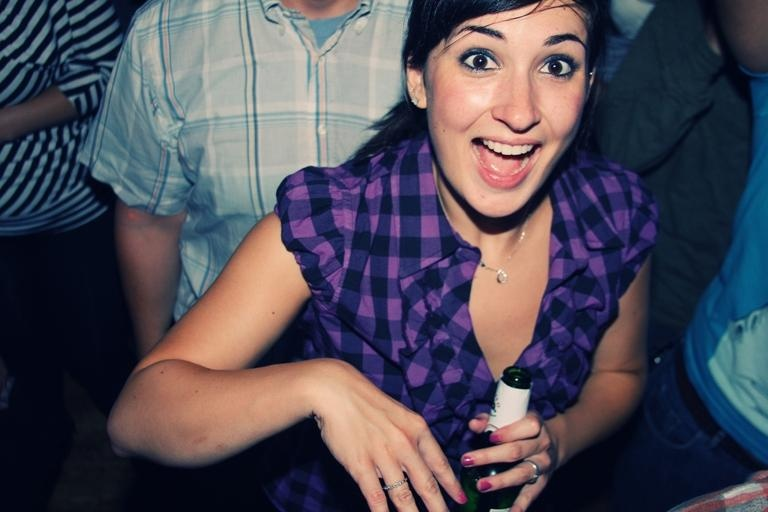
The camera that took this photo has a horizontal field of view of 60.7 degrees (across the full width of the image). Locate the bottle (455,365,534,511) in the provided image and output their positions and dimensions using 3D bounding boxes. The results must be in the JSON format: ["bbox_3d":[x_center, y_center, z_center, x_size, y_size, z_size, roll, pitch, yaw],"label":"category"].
[{"bbox_3d":[0.415,0.700,2.460,0.231,0.624,0.242,-1,33,1],"label":"bottle"}]

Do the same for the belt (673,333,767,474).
[{"bbox_3d":[1.323,0.635,2.634,0.266,0.363,0.093,-40,9,10],"label":"belt"}]
